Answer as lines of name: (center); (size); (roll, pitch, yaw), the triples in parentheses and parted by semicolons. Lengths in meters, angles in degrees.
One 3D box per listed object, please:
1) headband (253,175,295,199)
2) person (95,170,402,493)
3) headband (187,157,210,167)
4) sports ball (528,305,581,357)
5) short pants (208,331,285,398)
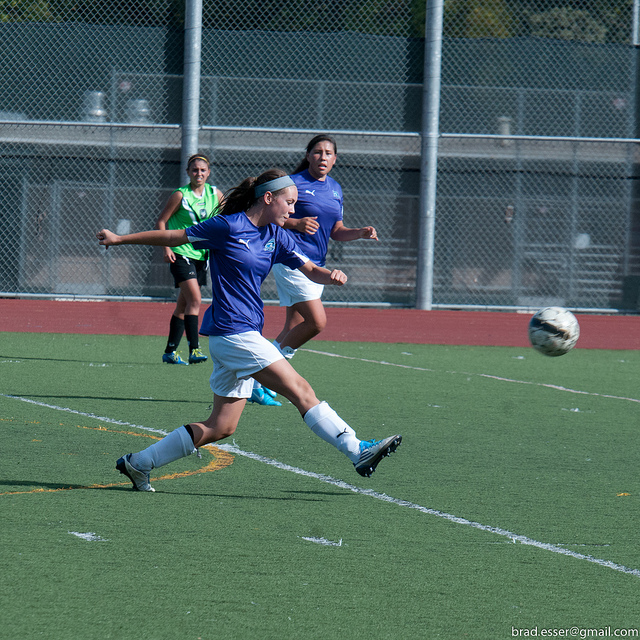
headband: (-0.223, -0.637, 4.881); (0.141, 0.044, 0.117); (-20, 5, -7)
person: (-0.335, 0.045, 4.980); (1.377, 1.444, 0.599); (2, -1, 0)
headband: (-1.118, -1.486, 9.375); (0.188, 0.057, 0.145); (2, -1, -14)
sports ball: (1.884, 0.093, 8.172); (0.376, 0.342, 0.332); (2, -1, 10)
short pants: (-0.380, 0.210, 4.805); (0.361, 0.294, 0.162); (2, -1, 23)
